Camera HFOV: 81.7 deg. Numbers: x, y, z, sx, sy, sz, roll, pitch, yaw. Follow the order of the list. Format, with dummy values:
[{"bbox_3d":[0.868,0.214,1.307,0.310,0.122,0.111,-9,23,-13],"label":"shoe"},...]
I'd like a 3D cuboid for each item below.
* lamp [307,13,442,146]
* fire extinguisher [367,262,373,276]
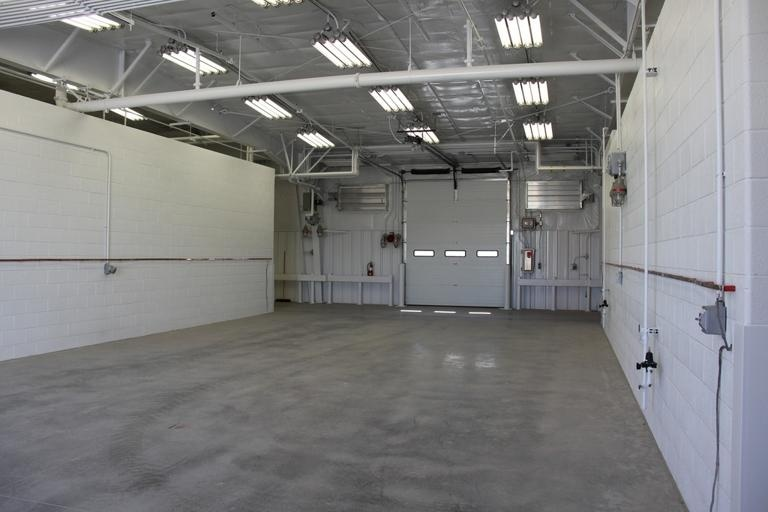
[{"bbox_3d":[-0.400,-2.962,8.940,1.069,1.495,3.727,-25,-39,19],"label":"lamp"},{"bbox_3d":[-0.525,0.515,17.290,0.275,0.529,0.164,2,3,16],"label":"fire extinguisher"}]
